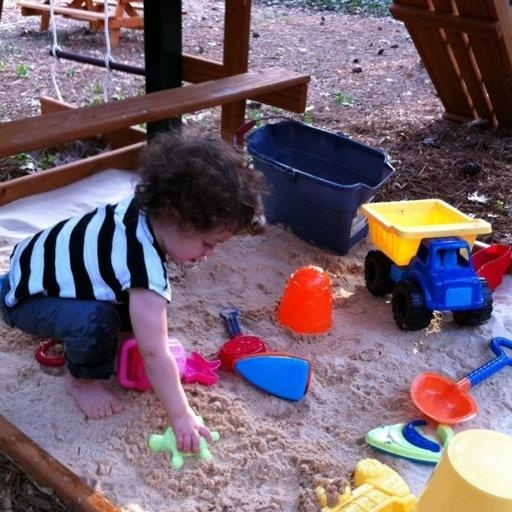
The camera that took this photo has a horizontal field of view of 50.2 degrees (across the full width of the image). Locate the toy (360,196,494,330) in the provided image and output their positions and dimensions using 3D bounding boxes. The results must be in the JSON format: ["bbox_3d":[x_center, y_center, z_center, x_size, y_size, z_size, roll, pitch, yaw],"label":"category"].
[{"bbox_3d":[0.547,0.016,2.066,0.409,0.366,0.552,-5,28,-10],"label":"toy"}]

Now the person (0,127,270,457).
[{"bbox_3d":[-0.339,0.047,1.516,0.867,0.577,0.733,20,28,6],"label":"person"}]

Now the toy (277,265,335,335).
[{"bbox_3d":[0.179,0.161,1.935,0.207,0.186,0.222,7,36,5],"label":"toy"}]

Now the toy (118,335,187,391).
[{"bbox_3d":[-0.299,0.294,1.630,0.205,0.116,0.186,-3,1,-17],"label":"toy"}]

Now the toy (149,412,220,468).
[{"bbox_3d":[-0.182,0.454,1.364,0.136,0.034,0.106,6,26,-3],"label":"toy"}]
